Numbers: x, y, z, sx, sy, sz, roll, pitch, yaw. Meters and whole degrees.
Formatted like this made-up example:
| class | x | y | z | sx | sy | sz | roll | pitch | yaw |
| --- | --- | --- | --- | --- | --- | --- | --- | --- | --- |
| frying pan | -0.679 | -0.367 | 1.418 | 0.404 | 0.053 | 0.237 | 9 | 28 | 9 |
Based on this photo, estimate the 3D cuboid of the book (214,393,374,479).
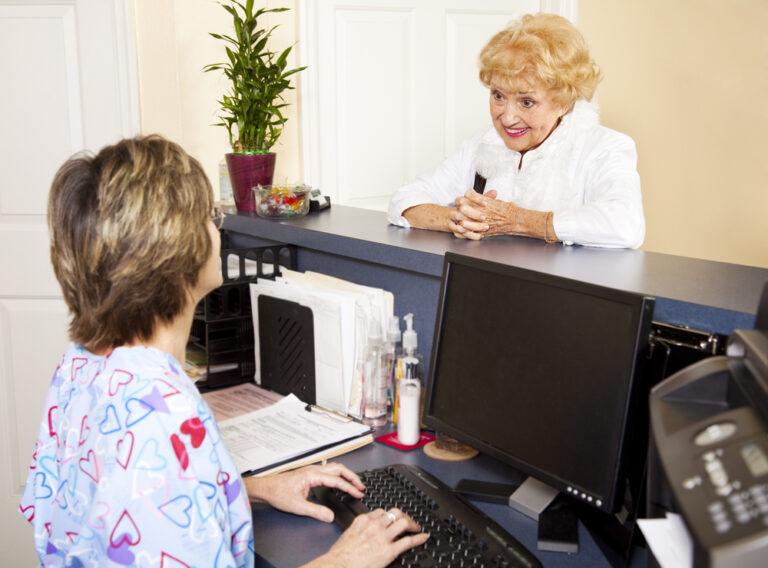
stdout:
| class | x | y | z | sx | sy | sz | roll | pitch | yaw |
| --- | --- | --- | --- | --- | --- | --- | --- | --- | --- |
| book | -0.257 | 0.391 | 1.648 | 0.187 | 0.031 | 0.203 | -15 | 22 | -33 |

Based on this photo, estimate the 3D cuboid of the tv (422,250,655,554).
| class | x | y | z | sx | sy | sz | roll | pitch | yaw |
| --- | --- | --- | --- | --- | --- | --- | --- | --- | --- |
| tv | 0.314 | 0.251 | 1.311 | 0.081 | 0.382 | 0.478 | -10 | 18 | -30 |

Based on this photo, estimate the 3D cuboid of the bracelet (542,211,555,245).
| class | x | y | z | sx | sy | sz | roll | pitch | yaw |
| --- | --- | --- | --- | --- | --- | --- | --- | --- | --- |
| bracelet | 0.453 | -0.148 | 1.790 | 0.023 | 0.069 | 0.048 | 4 | -4 | -22 |

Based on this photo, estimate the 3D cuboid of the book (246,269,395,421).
| class | x | y | z | sx | sy | sz | roll | pitch | yaw |
| --- | --- | --- | --- | --- | --- | --- | --- | --- | --- |
| book | -0.198 | 0.159 | 1.922 | 0.385 | 0.431 | 0.091 | 13 | 9 | 33 |
